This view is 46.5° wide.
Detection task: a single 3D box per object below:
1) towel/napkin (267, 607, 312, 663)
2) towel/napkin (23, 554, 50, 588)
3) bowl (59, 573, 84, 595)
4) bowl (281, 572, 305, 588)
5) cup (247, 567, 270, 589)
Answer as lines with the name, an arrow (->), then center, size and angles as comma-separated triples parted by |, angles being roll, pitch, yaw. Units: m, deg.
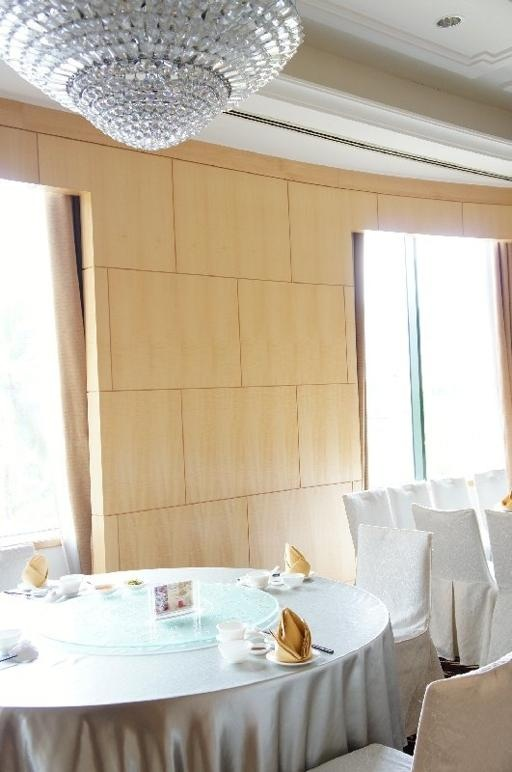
towel/napkin -> 0.099, 0.672, 1.632 | 0.112, 0.134, 0.113 | 0, -13, -41
towel/napkin -> -0.904, 0.767, 2.487 | 0.047, 0.092, 0.136 | -25, 39, 14
bowl -> -0.749, 0.805, 2.428 | 0.070, 0.054, 0.066 | -1, -1, 0
bowl -> 0.149, 0.804, 2.469 | 0.056, 0.035, 0.059 | -5, -9, -1
cup -> 0.012, 0.797, 2.460 | 0.058, 0.048, 0.069 | -5, -9, 12
